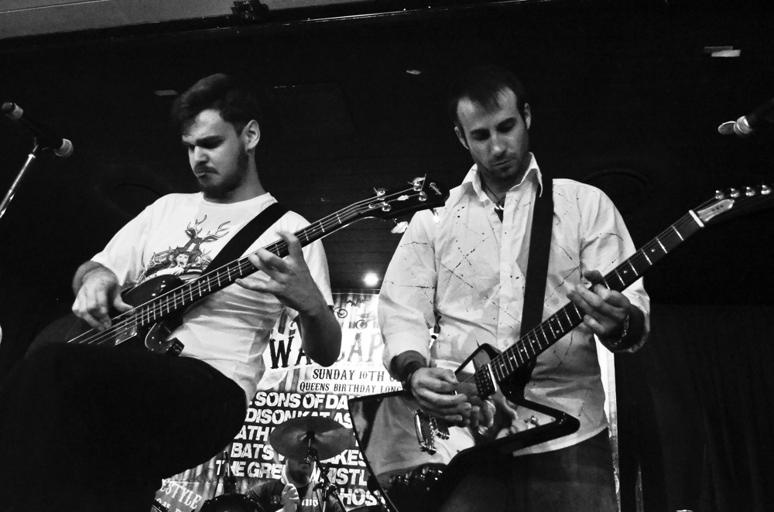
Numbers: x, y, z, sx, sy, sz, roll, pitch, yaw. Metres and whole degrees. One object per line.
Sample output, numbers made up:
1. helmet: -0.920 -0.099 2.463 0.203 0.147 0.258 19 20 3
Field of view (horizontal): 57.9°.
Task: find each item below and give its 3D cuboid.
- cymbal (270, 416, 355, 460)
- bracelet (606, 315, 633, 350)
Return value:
1. cymbal: -0.310 0.762 2.870 0.358 0.192 0.213 0 1 -8
2. bracelet: 0.847 0.286 2.615 0.046 0.090 0.123 22 -18 -3
